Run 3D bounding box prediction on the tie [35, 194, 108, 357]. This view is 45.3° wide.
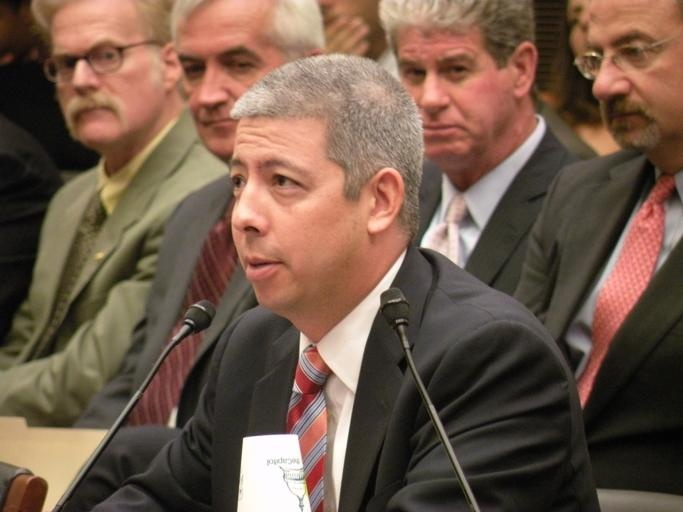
[{"bbox_3d":[-1.336,0.126,4.092,0.085,0.841,0.114,17,-14,21],"label":"tie"}]

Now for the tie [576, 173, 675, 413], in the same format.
[{"bbox_3d":[1.005,0.158,2.858,0.117,0.099,0.918,5,58,37],"label":"tie"}]

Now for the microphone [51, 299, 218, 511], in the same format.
[{"bbox_3d":[-0.787,0.586,3.172,0.091,0.862,0.078,25,-14,20],"label":"microphone"}]

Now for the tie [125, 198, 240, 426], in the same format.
[{"bbox_3d":[-0.659,0.259,3.445,0.245,0.193,1.056,-15,41,37],"label":"tie"}]

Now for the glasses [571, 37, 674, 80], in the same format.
[{"bbox_3d":[0.974,-0.699,2.884,0.126,0.138,0.398,-11,15,-40],"label":"glasses"}]
